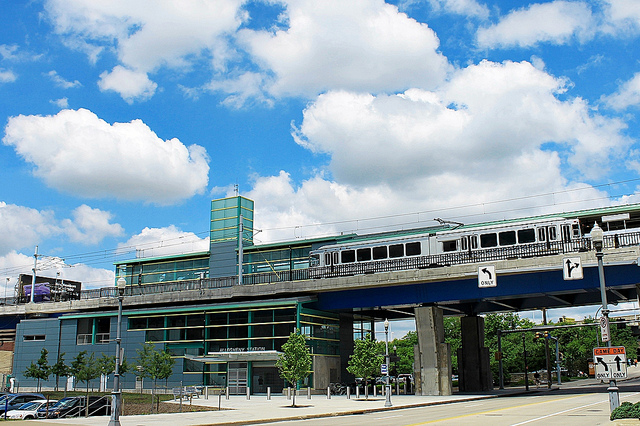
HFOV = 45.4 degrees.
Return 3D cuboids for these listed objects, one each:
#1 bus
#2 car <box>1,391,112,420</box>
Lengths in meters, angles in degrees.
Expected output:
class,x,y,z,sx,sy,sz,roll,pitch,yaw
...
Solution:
class,x,y,z,sx,sy,sz,roll,pitch,yaw
bus,12.010,3.935,81.779,30.453,4.404,3.381,-8,1,21
car,-22.292,16.753,66.085,8.190,1.765,3.154,-4,-15,6
